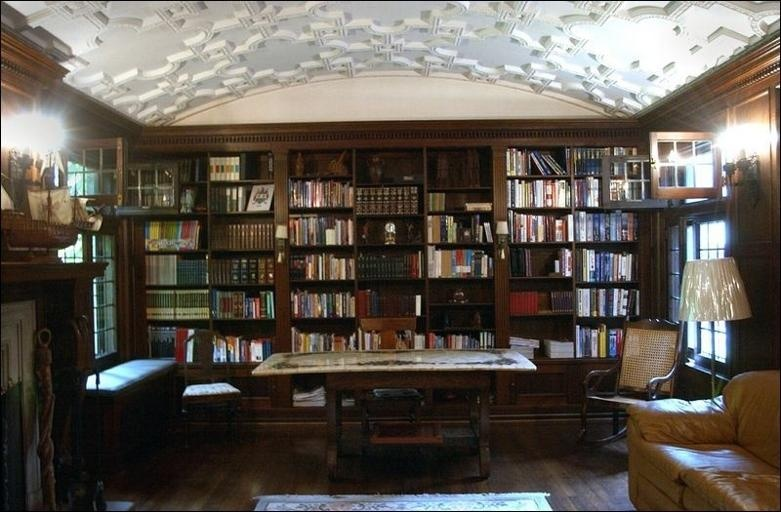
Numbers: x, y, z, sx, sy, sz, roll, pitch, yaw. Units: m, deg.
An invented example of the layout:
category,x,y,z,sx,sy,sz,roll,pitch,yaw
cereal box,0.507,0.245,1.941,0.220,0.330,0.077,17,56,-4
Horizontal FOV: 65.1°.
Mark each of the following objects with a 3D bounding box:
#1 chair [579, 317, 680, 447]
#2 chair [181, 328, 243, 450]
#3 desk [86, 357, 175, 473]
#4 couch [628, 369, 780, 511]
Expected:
category,x,y,z,sx,sy,sz,roll,pitch,yaw
chair,2.524,1.382,6.495,0.916,1.390,1.144,-3,-5,37
chair,-2.097,1.432,6.997,0.650,1.070,0.626,-1,2,-25
desk,-2.678,1.798,7.048,0.567,0.778,1.580,-5,-3,32
couch,2.781,1.659,5.389,0.763,0.820,1.264,2,-6,-1
